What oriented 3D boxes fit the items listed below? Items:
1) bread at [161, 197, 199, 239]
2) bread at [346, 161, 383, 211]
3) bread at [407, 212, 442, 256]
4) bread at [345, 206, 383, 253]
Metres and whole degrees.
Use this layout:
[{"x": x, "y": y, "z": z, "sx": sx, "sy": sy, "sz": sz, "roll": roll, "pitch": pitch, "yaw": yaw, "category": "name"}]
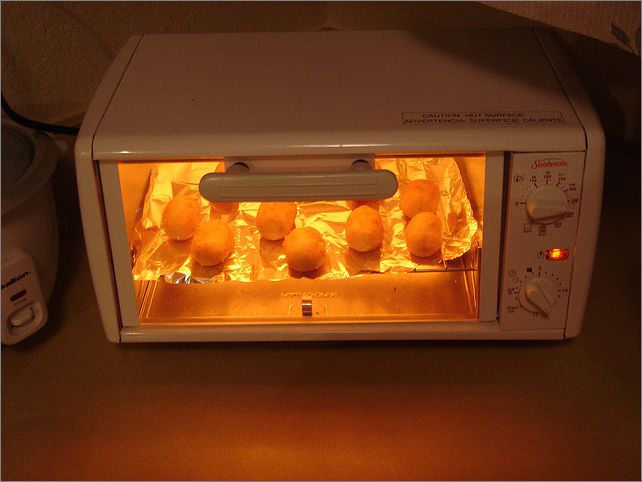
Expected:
[{"x": -0.221, "y": -0.037, "z": 0.866, "sx": 0.050, "sy": 0.051, "sz": 0.069, "roll": 20, "pitch": 51, "yaw": -10, "category": "bread"}, {"x": 0.065, "y": -0.085, "z": 0.856, "sx": 0.042, "sy": 0.068, "sz": 0.067, "roll": 2, "pitch": 18, "yaw": 1, "category": "bread"}, {"x": 0.159, "y": -0.008, "z": 0.840, "sx": 0.049, "sy": 0.068, "sz": 0.049, "roll": 1, "pitch": -8, "yaw": 16, "category": "bread"}, {"x": 0.066, "y": -0.018, "z": 0.847, "sx": 0.051, "sy": 0.054, "sz": 0.072, "roll": 16, "pitch": 57, "yaw": 9, "category": "bread"}]
